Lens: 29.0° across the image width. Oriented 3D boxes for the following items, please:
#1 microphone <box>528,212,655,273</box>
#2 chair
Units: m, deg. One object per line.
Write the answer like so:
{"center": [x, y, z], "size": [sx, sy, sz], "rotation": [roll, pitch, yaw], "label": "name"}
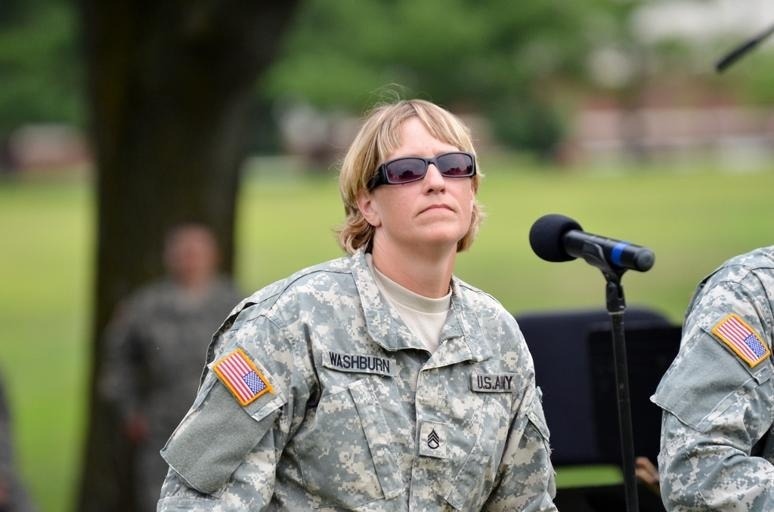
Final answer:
{"center": [0.924, -0.090, 7.070], "size": [0.690, 0.239, 0.247], "rotation": [12, -31, 45], "label": "microphone"}
{"center": [1.332, 0.821, 8.844], "size": [1.216, 0.927, 0.830], "rotation": [-3, -3, 21], "label": "chair"}
